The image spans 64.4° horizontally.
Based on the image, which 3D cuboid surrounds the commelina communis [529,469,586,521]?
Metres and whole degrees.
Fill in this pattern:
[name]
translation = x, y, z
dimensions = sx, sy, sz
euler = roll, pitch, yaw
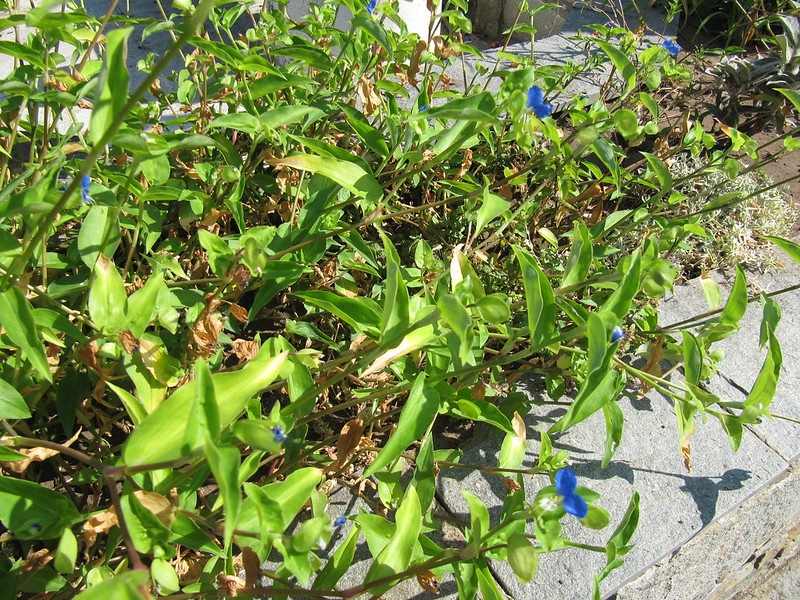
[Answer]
[commelina communis]
translation = 0.351, 0.409, 1.394
dimensions = 0.100, 0.107, 0.121
euler = -7, 13, 25
